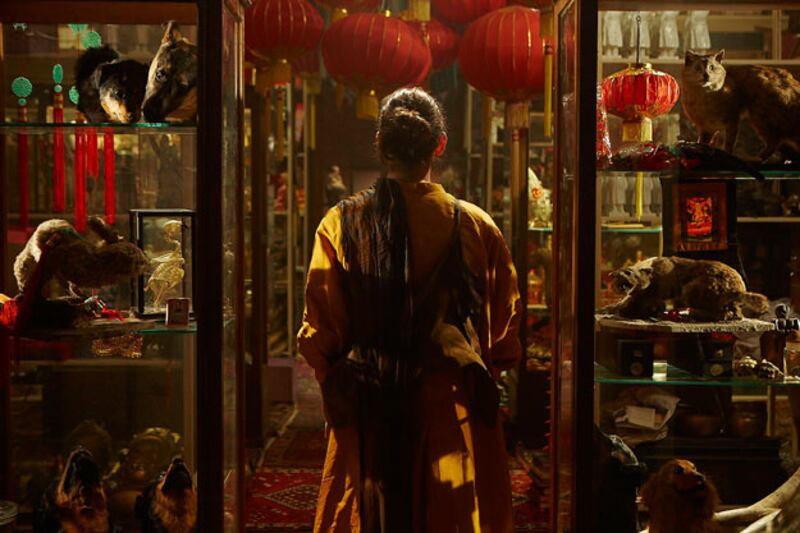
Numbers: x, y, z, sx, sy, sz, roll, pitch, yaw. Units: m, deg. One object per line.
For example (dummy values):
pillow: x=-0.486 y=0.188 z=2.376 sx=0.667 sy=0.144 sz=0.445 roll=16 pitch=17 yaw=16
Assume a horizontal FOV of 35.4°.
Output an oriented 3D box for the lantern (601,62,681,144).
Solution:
lantern: x=1.087 y=-0.741 z=5.754 sx=0.353 sy=0.342 sz=0.369 roll=3 pitch=-3 yaw=-10
